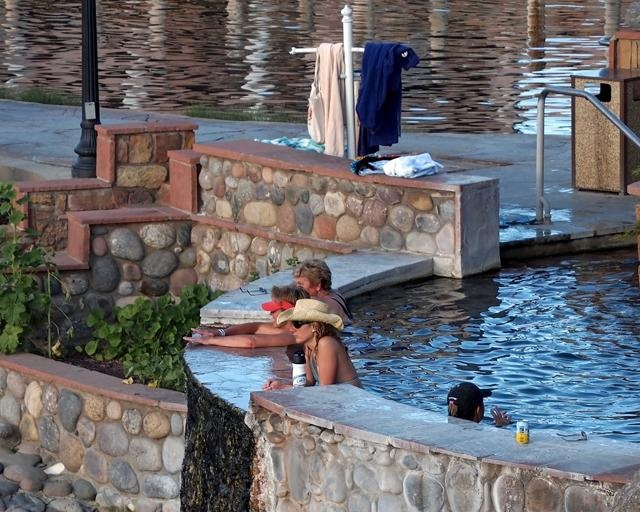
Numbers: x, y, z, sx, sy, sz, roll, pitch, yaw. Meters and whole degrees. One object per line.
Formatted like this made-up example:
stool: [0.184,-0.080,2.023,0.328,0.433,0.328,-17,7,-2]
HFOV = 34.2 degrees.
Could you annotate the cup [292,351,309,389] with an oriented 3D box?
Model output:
cup: [-0.125,0.684,6.286,0.081,0.183,0.151,-3,10,-3]

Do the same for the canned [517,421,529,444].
canned: [1.009,0.871,5.176,0.063,0.096,0.104,0,10,9]

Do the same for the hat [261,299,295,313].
hat: [-0.278,0.337,6.987,0.171,0.054,0.106,3,5,29]
